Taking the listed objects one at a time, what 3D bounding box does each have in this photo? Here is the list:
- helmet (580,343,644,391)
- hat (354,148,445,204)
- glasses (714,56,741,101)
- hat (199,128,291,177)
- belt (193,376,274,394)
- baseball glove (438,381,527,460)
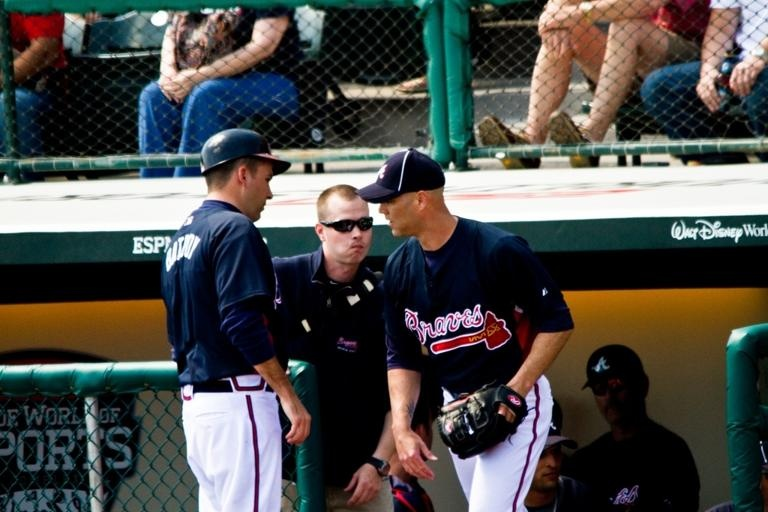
[{"bbox_3d":[1.623,0.750,8.650,0.369,0.181,0.273,3,-10,-9],"label":"helmet"},{"bbox_3d":[0.105,-0.457,6.939,0.464,0.259,0.264,-1,10,-3],"label":"hat"},{"bbox_3d":[2.412,-1.266,8.646,0.095,0.272,0.206,10,-20,-33],"label":"glasses"},{"bbox_3d":[-0.838,-0.629,7.222,0.391,0.181,0.291,0,-12,-13],"label":"hat"},{"bbox_3d":[-0.853,0.719,6.962,0.439,0.094,0.052,-6,2,-7],"label":"belt"},{"bbox_3d":[0.550,0.903,6.884,0.513,0.315,0.214,-33,-17,19],"label":"baseball glove"}]
